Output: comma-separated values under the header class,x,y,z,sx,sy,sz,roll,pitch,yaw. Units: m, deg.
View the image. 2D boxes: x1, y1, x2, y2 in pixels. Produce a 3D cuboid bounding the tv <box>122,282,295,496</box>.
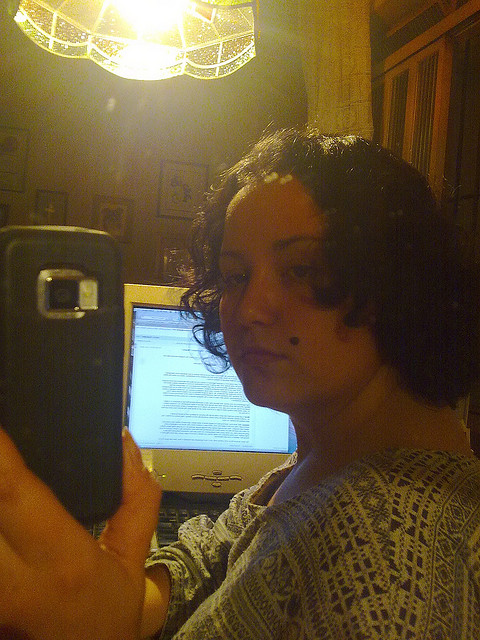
class,x,y,z,sx,sy,sz,roll,pitch,yaw
tv,-0.060,0.074,1.219,0.355,0.594,0.311,4,37,-1
